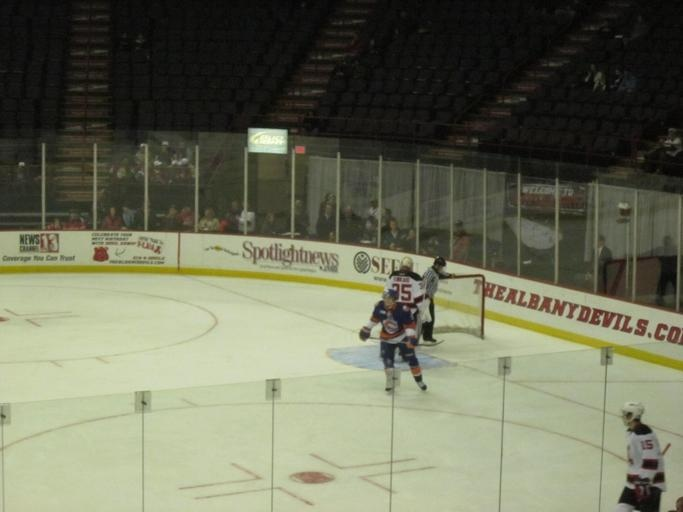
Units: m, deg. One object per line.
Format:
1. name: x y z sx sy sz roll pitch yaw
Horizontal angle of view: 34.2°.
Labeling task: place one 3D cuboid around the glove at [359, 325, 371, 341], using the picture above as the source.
1. glove: 0.459 1.442 21.164 0.221 0.267 0.292 4 12 7

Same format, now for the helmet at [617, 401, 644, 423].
1. helmet: 4.579 2.431 17.533 0.354 0.272 0.257 12 1 9

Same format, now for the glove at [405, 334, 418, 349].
1. glove: 1.322 1.590 20.801 0.248 0.221 0.101 17 24 20

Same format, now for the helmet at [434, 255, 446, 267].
1. helmet: 2.192 0.113 24.708 0.222 0.204 0.230 6 27 11

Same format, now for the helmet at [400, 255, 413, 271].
1. helmet: 1.304 0.140 23.474 0.273 0.306 0.338 3 -2 14

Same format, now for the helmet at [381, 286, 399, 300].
1. helmet: 0.918 0.718 20.954 0.238 0.232 0.400 2 14 7

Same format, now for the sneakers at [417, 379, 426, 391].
1. sneakers: 1.257 1.976 17.160 0.156 0.129 0.131 -9 16 -31
